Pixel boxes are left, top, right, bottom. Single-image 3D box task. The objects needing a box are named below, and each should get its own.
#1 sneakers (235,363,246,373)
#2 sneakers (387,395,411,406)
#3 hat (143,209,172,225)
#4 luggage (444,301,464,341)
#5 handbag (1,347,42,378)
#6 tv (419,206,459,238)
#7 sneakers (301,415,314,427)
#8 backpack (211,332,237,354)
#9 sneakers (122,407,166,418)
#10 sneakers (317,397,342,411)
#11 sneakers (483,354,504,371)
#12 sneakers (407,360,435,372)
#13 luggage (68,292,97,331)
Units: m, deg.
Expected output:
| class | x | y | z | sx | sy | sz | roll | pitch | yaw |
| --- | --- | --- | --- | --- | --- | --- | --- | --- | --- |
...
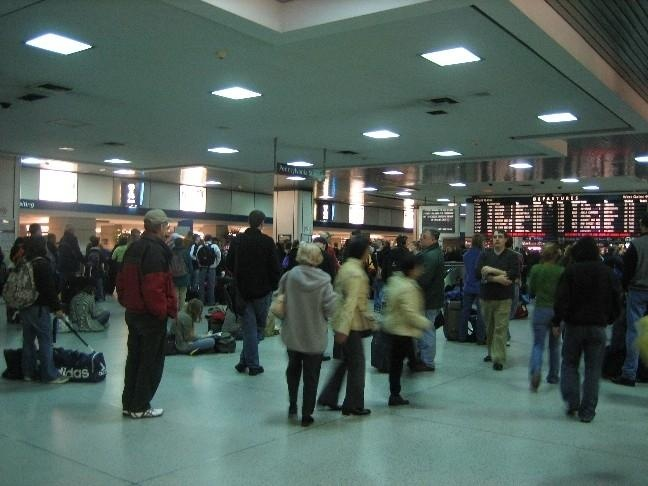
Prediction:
| class | x | y | z | sx | sy | sz | roll | pitch | yaw |
| --- | --- | --- | --- | --- | --- | --- | --- | --- | --- |
| sneakers | -1.161 | 1.752 | 8.352 | 0.147 | 0.145 | 0.104 | 4 | -1 | -5 |
| sneakers | 0.879 | 1.842 | 7.043 | 0.305 | 0.121 | 0.100 | 1 | -1 | -30 |
| hat | -1.857 | -0.294 | 6.674 | 0.166 | 0.132 | 0.225 | 8 | 6 | 40 |
| luggage | 2.448 | 1.425 | 11.322 | 0.374 | 0.741 | 0.501 | 0 | 8 | 1 |
| handbag | -4.002 | 1.582 | 7.770 | 0.353 | 0.455 | 0.457 | 0 | -2 | 37 |
| tv | 3.873 | -0.773 | 19.767 | 1.235 | 1.049 | 0.410 | 1 | 4 | 31 |
| sneakers | -0.178 | 1.889 | 6.314 | 0.064 | 0.111 | 0.159 | 1 | 1 | 19 |
| backpack | -1.600 | 1.618 | 9.634 | 0.294 | 0.146 | 0.302 | -1 | 2 | 30 |
| sneakers | -1.978 | 1.863 | 6.533 | 0.442 | 0.085 | 0.197 | 2 | -1 | -19 |
| sneakers | 0.017 | 1.858 | 6.836 | 0.374 | 0.152 | 0.114 | -3 | 6 | -9 |
| sneakers | 2.548 | 1.785 | 8.863 | 0.091 | 0.183 | 0.270 | -8 | 7 | -11 |
| sneakers | 1.415 | 1.812 | 8.577 | 0.414 | 0.178 | 0.153 | 7 | -1 | -4 |
| luggage | -4.567 | 1.320 | 11.276 | 0.619 | 0.715 | 0.471 | 2 | 8 | 11 |
